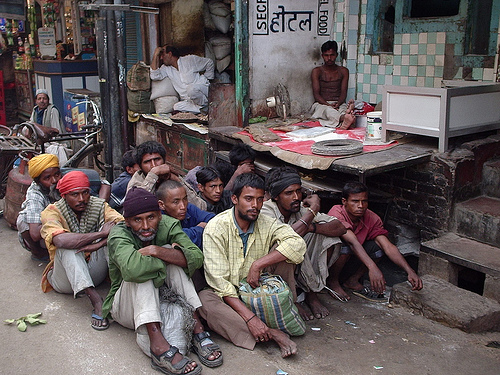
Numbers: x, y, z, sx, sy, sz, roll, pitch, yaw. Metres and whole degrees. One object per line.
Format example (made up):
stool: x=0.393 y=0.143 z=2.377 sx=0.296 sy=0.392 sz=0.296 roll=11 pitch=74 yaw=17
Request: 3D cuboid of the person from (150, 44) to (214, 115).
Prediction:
person: x=-1.182 y=-2.032 z=7.801 sx=1.132 sy=1.470 sz=0.992 roll=-10 pitch=26 yaw=-27

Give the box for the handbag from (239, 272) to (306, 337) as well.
handbag: x=0.165 y=0.996 z=3.583 sx=0.438 sy=0.554 sz=0.303 roll=-8 pitch=30 yaw=41

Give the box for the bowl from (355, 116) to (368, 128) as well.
bowl: x=1.655 y=-1.006 z=6.361 sx=0.147 sy=0.201 sz=0.203 roll=-13 pitch=19 yaw=-38

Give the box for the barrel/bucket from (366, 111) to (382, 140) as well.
barrel/bucket: x=1.621 y=-0.808 z=5.499 sx=0.221 sy=0.326 sz=0.297 roll=-10 pitch=13 yaw=-24

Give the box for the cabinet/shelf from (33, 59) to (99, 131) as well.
cabinet/shelf: x=-5.291 y=-2.528 z=12.123 sx=1.499 sy=1.994 sz=1.498 roll=1 pitch=12 yaw=9

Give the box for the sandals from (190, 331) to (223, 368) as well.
sandals: x=-0.361 y=1.281 z=3.434 sx=0.141 sy=0.123 sz=0.325 roll=-13 pitch=21 yaw=-31

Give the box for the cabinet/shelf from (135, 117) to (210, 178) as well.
cabinet/shelf: x=-1.251 y=-0.739 z=7.486 sx=2.012 sy=0.940 sz=0.691 roll=18 pitch=25 yaw=38

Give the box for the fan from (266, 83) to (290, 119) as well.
fan: x=0.499 y=-1.421 z=6.853 sx=0.194 sy=0.551 sz=0.461 roll=-3 pitch=1 yaw=42

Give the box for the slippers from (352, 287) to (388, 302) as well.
slippers: x=1.288 y=1.132 z=4.448 sx=0.276 sy=0.093 sz=0.147 roll=10 pitch=14 yaw=32

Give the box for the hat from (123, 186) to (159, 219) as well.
hat: x=-0.902 y=0.129 z=3.476 sx=0.289 sy=0.248 sz=0.150 roll=-5 pitch=16 yaw=-12

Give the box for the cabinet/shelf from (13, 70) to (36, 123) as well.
cabinet/shelf: x=-7.245 y=-3.019 z=13.815 sx=0.812 sy=1.437 sz=0.438 roll=12 pitch=20 yaw=35

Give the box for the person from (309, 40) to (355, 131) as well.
person: x=1.325 y=-1.614 z=6.654 sx=0.594 sy=1.294 sz=1.292 roll=-2 pitch=19 yaw=-2
